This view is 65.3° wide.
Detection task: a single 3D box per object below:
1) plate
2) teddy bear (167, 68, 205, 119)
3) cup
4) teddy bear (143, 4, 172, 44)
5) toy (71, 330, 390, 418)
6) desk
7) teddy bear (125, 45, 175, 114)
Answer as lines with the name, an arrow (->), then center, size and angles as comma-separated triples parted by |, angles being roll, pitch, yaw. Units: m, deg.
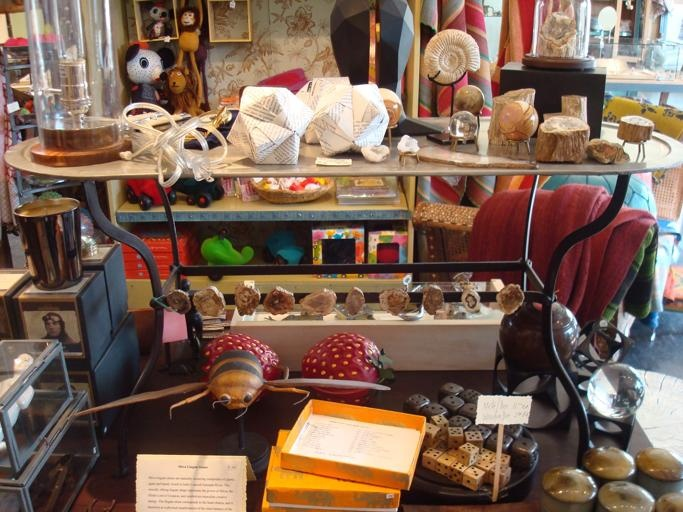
plate -> 0.328, 0.491, 1.270 | 0.189, 0.052, 0.208 | 4, 28, 10
teddy bear -> -0.950, -0.993, 3.224 | 0.259, 0.318, 0.230 | -3, 11, 0
cup -> -0.699, -0.031, 1.276 | 0.140, 0.183, 0.147 | 0, 0, 0
teddy bear -> -1.066, -1.361, 3.124 | 0.153, 0.243, 0.234 | -1, 0, -19
toy -> -0.265, 0.336, 1.373 | 0.756, 0.217, 0.430 | -1, 0, 4
desk -> 0.046, 0.134, 1.651 | 1.443, 0.753, 0.571 | 0, 41, -1
teddy bear -> -1.128, -1.085, 3.147 | 0.275, 0.262, 0.271 | -1, 0, -18
